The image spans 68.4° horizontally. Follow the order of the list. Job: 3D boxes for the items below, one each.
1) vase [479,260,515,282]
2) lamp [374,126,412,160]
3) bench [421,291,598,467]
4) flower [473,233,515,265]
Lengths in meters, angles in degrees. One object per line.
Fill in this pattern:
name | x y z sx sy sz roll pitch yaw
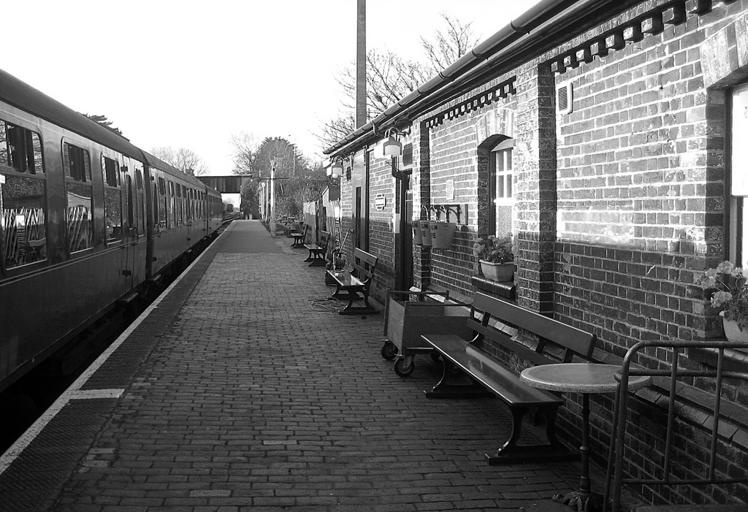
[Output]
vase | 1.640 0.216 7.436 0.268 0.282 0.551 -1 6 -29
lamp | 0.402 -2.306 11.310 0.602 0.809 0.837 1 1 -17
bench | 1.303 1.231 6.129 0.916 1.217 3.113 1 1 -8
flower | 1.674 -0.098 7.544 0.365 0.233 0.406 -4 6 -30
